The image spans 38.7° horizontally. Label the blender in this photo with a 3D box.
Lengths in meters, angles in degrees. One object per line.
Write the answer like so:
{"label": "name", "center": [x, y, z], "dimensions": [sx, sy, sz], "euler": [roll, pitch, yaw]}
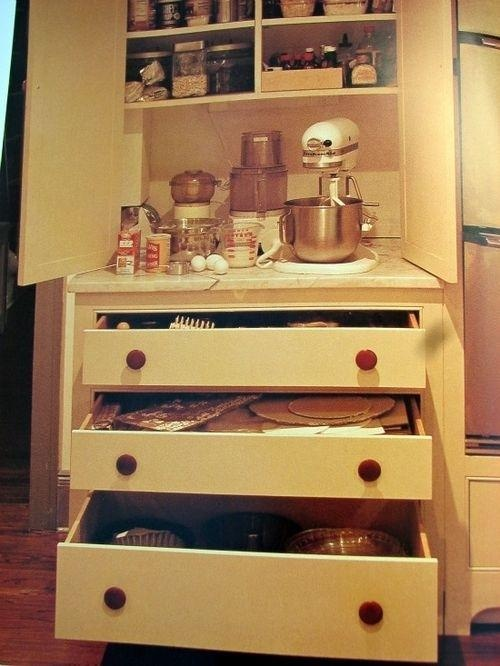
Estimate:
{"label": "blender", "center": [0.191, -0.358, 1.818], "dimensions": [0.277, 0.374, 0.403], "euler": [1, 16, 18]}

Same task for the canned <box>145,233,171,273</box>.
{"label": "canned", "center": [-0.232, -0.202, 1.803], "dimensions": [0.067, 0.089, 0.126], "euler": [-5, 12, -5]}

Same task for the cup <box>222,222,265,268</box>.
{"label": "cup", "center": [-0.014, -0.235, 1.839], "dimensions": [0.135, 0.121, 0.103], "euler": [-8, 21, -25]}

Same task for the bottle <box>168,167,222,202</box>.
{"label": "bottle", "center": [-0.162, -0.412, 2.015], "dimensions": [0.101, 0.064, 0.115], "euler": [0, 4, -1]}

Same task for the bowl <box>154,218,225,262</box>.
{"label": "bowl", "center": [-0.150, -0.241, 1.928], "dimensions": [0.173, 0.090, 0.156], "euler": [-10, 15, -32]}

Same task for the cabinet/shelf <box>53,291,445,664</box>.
{"label": "cabinet/shelf", "center": [-0.011, 0.297, 1.793], "dimensions": [0.910, 0.777, 0.867], "euler": [-1, -2, 8]}

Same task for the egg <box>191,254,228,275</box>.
{"label": "egg", "center": [-0.100, -0.175, 1.747], "dimensions": [0.068, 0.029, 0.062], "euler": [0, 8, -7]}
